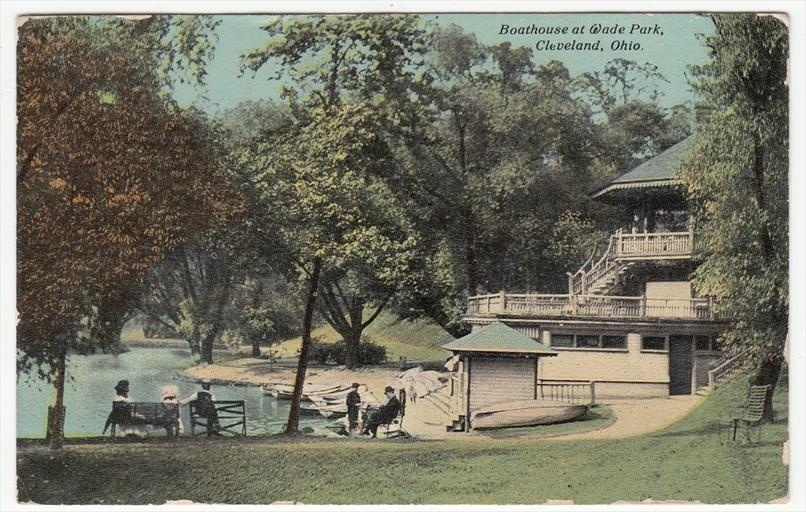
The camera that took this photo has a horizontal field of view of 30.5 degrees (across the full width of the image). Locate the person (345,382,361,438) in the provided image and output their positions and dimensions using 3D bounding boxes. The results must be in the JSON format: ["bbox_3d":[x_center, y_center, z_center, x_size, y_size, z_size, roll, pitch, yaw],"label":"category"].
[{"bbox_3d":[-1.184,3.571,34.507,0.331,1.179,0.159,2,-9,-6],"label":"person"}]

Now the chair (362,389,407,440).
[{"bbox_3d":[-0.489,3.702,34.517,1.338,1.517,0.810,6,-8,1],"label":"chair"}]

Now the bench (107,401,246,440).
[{"bbox_3d":[-5.347,3.788,34.600,3.216,0.849,0.267,1,-9,-3],"label":"bench"}]

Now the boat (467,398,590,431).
[{"bbox_3d":[3.424,3.702,34.873,3.815,0.775,0.861,-2,-3,-7],"label":"boat"}]
